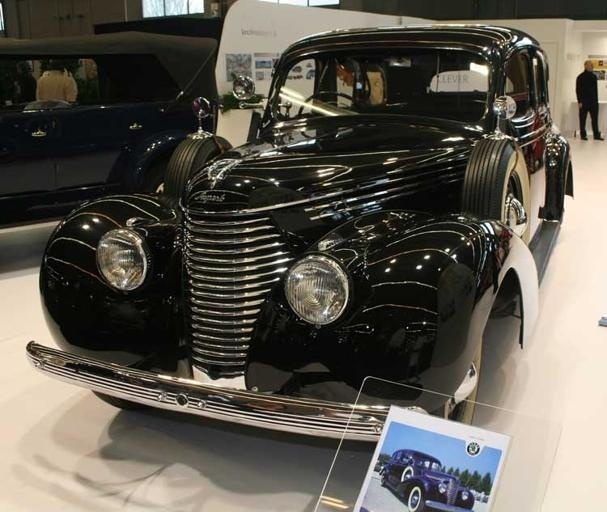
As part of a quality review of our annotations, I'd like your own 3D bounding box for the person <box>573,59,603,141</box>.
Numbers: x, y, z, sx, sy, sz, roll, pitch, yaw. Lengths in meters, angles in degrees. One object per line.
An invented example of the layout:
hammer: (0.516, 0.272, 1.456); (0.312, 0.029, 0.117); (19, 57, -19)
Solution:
person: (8.192, -4.362, 13.102); (0.870, 2.102, 1.238); (9, 17, 28)
